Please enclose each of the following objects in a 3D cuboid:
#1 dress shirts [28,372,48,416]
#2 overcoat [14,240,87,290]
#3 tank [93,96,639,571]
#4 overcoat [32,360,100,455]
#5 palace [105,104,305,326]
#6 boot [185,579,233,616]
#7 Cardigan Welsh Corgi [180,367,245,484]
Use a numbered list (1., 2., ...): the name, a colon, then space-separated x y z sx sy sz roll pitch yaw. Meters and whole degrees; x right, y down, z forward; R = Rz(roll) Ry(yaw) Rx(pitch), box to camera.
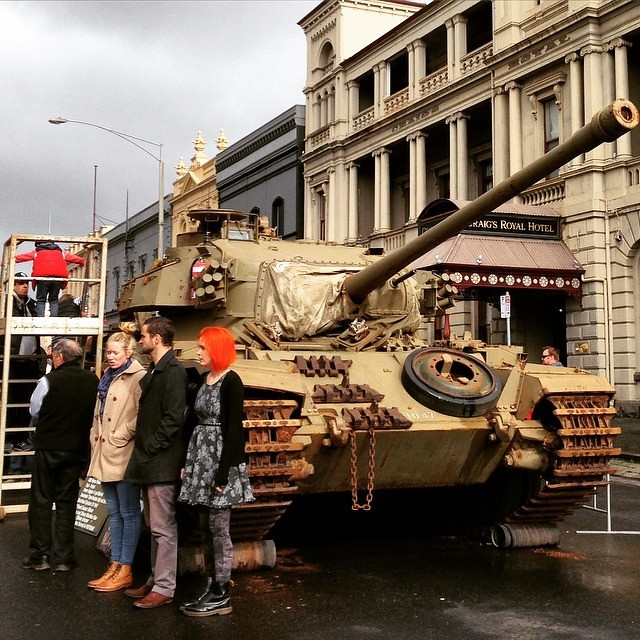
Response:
1. dress shirts: -2.617 0.673 8.476 0.118 0.334 0.243 22 -6 -31
2. overcoat: -3.603 -0.750 12.524 0.635 0.599 0.850 1 1 10
3. tank: 0.710 0.149 11.232 6.204 4.408 6.177 0 -4 2
4. overcoat: -2.294 0.764 8.575 0.465 0.715 0.405 2 4 -26
5. palace: -2.132 -2.686 22.321 1.730 3.886 8.751 6 -10 -26
6. boot: -0.838 2.147 7.124 0.428 0.305 0.175 4 -16 -8
7. Cardigan Welsh Corgi: -0.786 0.902 7.174 0.360 1.111 0.494 -2 7 -39
